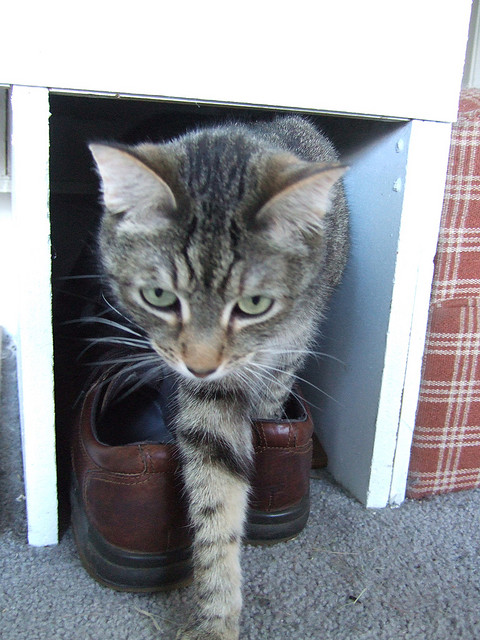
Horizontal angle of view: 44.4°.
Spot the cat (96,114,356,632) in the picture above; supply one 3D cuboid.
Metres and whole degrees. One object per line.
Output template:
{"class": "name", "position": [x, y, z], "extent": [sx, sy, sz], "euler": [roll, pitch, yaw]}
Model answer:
{"class": "cat", "position": [-0.018, 0.011, 0.937], "extent": [0.368, 0.637, 0.610], "euler": [10, 22, 19]}
